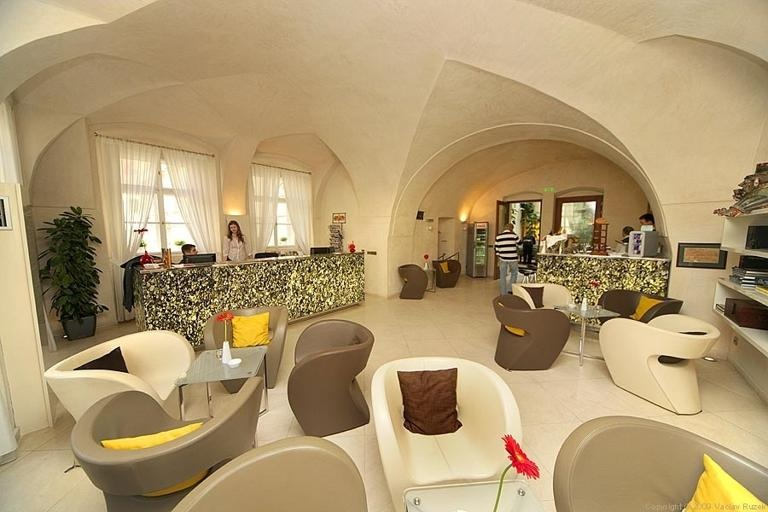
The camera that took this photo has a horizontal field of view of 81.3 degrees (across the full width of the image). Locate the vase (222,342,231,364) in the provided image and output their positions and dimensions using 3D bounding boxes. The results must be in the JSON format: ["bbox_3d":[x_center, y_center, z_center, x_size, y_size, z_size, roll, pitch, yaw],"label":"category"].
[{"bbox_3d":[-2.013,1.216,5.719,0.121,0.266,0.251,-3,5,-21],"label":"vase"}]

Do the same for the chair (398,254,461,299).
[{"bbox_3d":[1.090,0.537,11.115,0.825,0.852,1.899,3,5,34],"label":"chair"}]

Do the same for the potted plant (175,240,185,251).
[{"bbox_3d":[-4.295,-0.198,9.391,0.215,0.227,0.184,1,15,-11],"label":"potted plant"}]

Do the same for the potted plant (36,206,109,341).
[{"bbox_3d":[-5.486,0.297,7.893,0.949,2.335,0.692,-4,6,-33],"label":"potted plant"}]

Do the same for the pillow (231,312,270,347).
[{"bbox_3d":[-1.939,1.087,6.479,0.412,0.401,0.164,-3,-28,-16],"label":"pillow"}]

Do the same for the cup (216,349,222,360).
[{"bbox_3d":[-2.146,1.290,5.849,0.093,0.072,0.074,-4,5,-9],"label":"cup"}]

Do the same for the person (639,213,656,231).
[{"bbox_3d":[4.870,-0.614,8.241,0.231,0.294,1.169,2,5,30],"label":"person"}]

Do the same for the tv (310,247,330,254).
[{"bbox_3d":[-1.265,-0.096,9.028,0.441,0.122,0.158,-2,4,-17],"label":"tv"}]

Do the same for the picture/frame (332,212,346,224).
[{"bbox_3d":[-1.177,-0.980,11.752,0.082,0.296,0.567,-5,6,-40],"label":"picture/frame"}]

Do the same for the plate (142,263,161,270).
[{"bbox_3d":[-3.647,0.179,7.043,0.252,0.083,0.262,-3,5,-33],"label":"plate"}]

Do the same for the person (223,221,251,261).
[{"bbox_3d":[-3.061,-0.314,9.307,0.517,0.784,0.426,-4,6,-38],"label":"person"}]

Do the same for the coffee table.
[{"bbox_3d":[-2.034,1.393,5.809,0.997,0.968,1.010,7,25,4],"label":"coffee table"}]

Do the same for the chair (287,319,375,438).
[{"bbox_3d":[-0.647,1.517,6.168,1.256,1.379,1.440,4,3,-7],"label":"chair"}]

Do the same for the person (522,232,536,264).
[{"bbox_3d":[4.139,-0.227,12.805,0.383,0.925,0.821,1,5,19],"label":"person"}]

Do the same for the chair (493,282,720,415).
[{"bbox_3d":[3.605,1.243,6.263,1.151,0.984,1.446,0,21,-25],"label":"chair"}]

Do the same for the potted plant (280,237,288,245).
[{"bbox_3d":[-2.567,-0.359,11.478,0.151,0.157,0.155,1,8,-2],"label":"potted plant"}]

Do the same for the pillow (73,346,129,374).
[{"bbox_3d":[-3.447,1.336,5.611,0.107,0.348,0.372,-22,-15,8],"label":"pillow"}]

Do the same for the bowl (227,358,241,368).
[{"bbox_3d":[-1.871,1.347,5.654,0.140,0.078,0.166,2,5,31],"label":"bowl"}]

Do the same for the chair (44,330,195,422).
[{"bbox_3d":[-3.264,1.410,5.614,1.198,1.054,1.437,0,8,7],"label":"chair"}]

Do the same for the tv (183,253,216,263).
[{"bbox_3d":[-3.097,0.055,7.519,0.485,0.141,0.241,-2,4,-22],"label":"tv"}]

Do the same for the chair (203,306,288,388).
[{"bbox_3d":[-2.027,1.346,6.834,1.209,1.155,1.147,0,-7,-8],"label":"chair"}]
